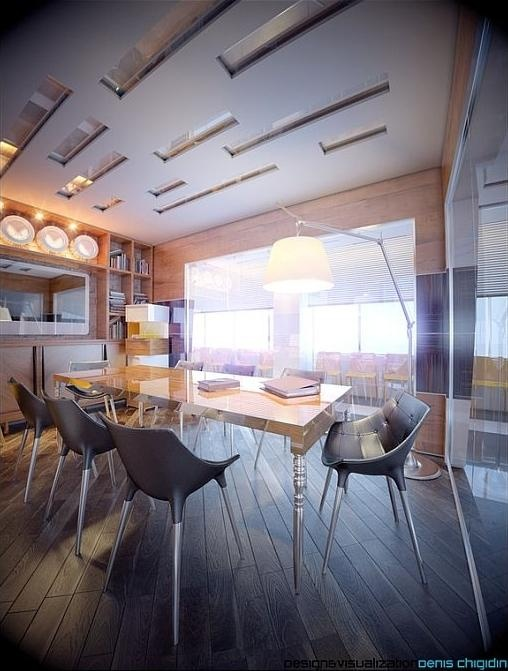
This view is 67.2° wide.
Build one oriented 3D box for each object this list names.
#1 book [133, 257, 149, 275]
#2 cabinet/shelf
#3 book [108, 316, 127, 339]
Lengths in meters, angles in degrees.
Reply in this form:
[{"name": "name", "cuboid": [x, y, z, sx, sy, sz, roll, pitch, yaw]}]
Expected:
[{"name": "book", "cuboid": [-1.667, -1.015, 5.750, 0.208, 0.327, 0.218, 0, 0, 31]}, {"name": "cabinet/shelf", "cuboid": [-1.880, -0.629, 5.558, 0.225, 1.502, 0.686, 21, 16, 28]}, {"name": "book", "cuboid": [-1.919, -0.113, 5.387, 0.242, 0.381, 0.260, 0, -2, -28]}]
